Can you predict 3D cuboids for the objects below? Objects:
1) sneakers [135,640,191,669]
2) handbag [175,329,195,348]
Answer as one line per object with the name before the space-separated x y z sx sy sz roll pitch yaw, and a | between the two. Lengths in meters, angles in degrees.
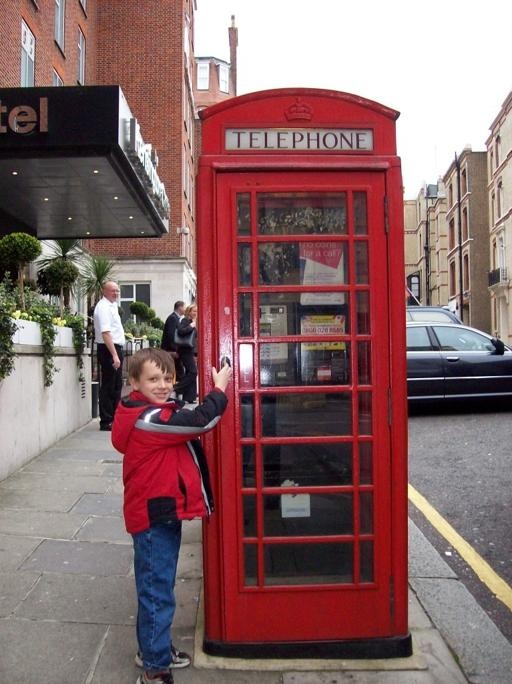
sneakers | -0.379 1.311 3.122 0.275 0.134 0.095 3 -2 -9
handbag | -1.002 -0.061 10.012 0.208 0.251 0.088 3 14 -7
